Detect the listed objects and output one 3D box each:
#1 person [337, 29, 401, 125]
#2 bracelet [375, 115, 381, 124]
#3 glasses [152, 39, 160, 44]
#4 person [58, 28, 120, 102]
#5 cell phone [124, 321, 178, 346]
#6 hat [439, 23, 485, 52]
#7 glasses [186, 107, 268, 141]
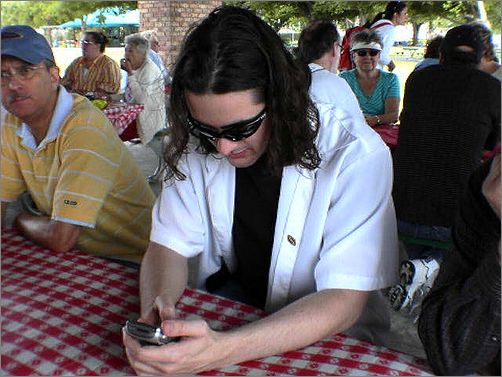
[{"bbox_3d":[1.254,-1.171,4.359,0.668,1.065,0.679,1,14,22],"label":"person"},{"bbox_3d":[1.244,-0.672,3.971,0.029,0.082,0.068,-4,4,31],"label":"bracelet"},{"bbox_3d":[-1.732,-2.684,7.383,0.068,0.097,0.095,0,-2,-4],"label":"glasses"},{"bbox_3d":[-2.680,-1.953,6.694,0.934,1.239,0.762,12,16,12],"label":"person"},{"bbox_3d":[-0.311,0.446,1.258,0.136,0.034,0.075,25,1,-3],"label":"cell phone"},{"bbox_3d":[1.415,-1.005,2.701,0.172,0.142,0.255,7,45,19],"label":"hat"},{"bbox_3d":[-0.093,-0.229,1.493,0.296,0.126,0.097,1,19,2],"label":"glasses"}]
